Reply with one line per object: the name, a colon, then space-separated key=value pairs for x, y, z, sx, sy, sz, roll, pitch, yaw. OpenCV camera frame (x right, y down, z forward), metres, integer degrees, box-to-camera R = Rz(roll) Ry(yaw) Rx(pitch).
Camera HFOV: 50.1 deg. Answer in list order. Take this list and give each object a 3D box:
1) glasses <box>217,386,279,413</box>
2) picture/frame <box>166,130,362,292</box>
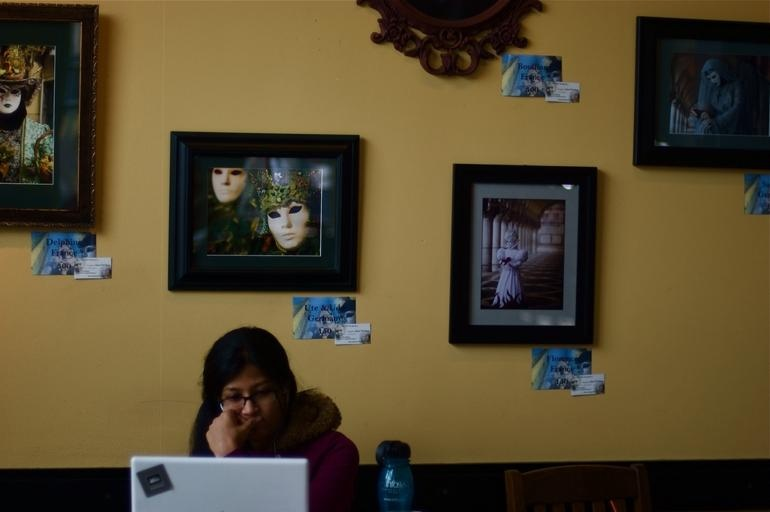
glasses: x=-0.549 y=0.573 z=3.258 sx=0.222 sy=0.082 sz=0.033 roll=5 pitch=-2 yaw=-2
picture/frame: x=-0.524 y=-0.196 z=3.334 sx=0.554 sy=0.551 sz=0.043 roll=0 pitch=1 yaw=-1
